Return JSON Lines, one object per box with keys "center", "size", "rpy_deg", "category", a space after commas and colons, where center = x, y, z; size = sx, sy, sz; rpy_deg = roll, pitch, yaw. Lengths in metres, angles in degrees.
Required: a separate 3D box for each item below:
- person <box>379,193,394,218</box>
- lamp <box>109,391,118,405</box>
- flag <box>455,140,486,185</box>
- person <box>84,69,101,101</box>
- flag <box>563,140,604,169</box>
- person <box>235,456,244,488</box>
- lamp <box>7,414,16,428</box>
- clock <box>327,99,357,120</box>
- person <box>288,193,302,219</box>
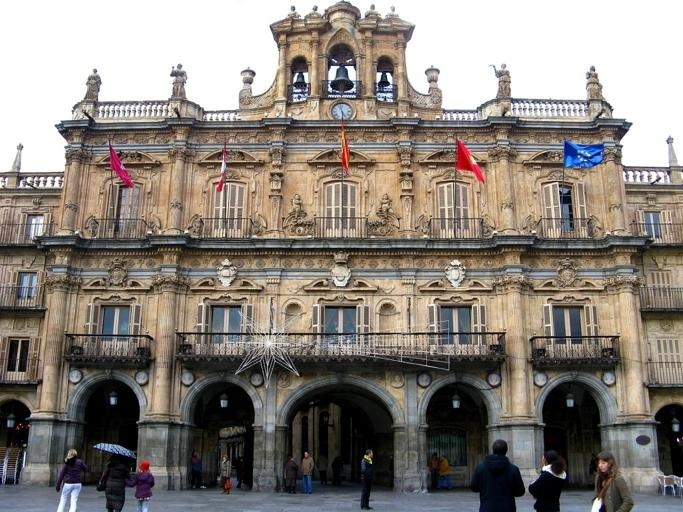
{"center": [2.387, -2.755, 39.585], "size": [0.823, 1.434, 0.284], "rpy_deg": [-2, -16, 5], "category": "person"}
{"center": [-11.797, 7.232, 37.771], "size": [0.282, 0.622, 0.751], "rpy_deg": [3, -16, -10], "category": "lamp"}
{"center": [6.922, -4.949, 39.425], "size": [2.167, 2.765, 0.269], "rpy_deg": [7, -18, -16], "category": "flag"}
{"center": [-14.257, -9.783, 41.824], "size": [0.754, 2.119, 0.927], "rpy_deg": [6, -17, -22], "category": "person"}
{"center": [12.622, -5.237, 38.197], "size": [1.693, 1.349, 0.183], "rpy_deg": [4, -16, 3], "category": "flag"}
{"center": [-5.537, 11.418, 39.055], "size": [0.584, 1.854, 0.428], "rpy_deg": [-2, -2, 2], "category": "person"}
{"center": [-18.191, 8.980, 40.180], "size": [0.381, 0.704, 2.372], "rpy_deg": [6, -17, -22], "category": "lamp"}
{"center": [-0.042, -8.197, 41.073], "size": [1.107, 1.131, 0.087], "rpy_deg": [-18, -14, -6], "category": "clock"}
{"center": [-2.482, -2.778, 39.645], "size": [0.828, 1.367, 0.247], "rpy_deg": [1, -16, -4], "category": "person"}
